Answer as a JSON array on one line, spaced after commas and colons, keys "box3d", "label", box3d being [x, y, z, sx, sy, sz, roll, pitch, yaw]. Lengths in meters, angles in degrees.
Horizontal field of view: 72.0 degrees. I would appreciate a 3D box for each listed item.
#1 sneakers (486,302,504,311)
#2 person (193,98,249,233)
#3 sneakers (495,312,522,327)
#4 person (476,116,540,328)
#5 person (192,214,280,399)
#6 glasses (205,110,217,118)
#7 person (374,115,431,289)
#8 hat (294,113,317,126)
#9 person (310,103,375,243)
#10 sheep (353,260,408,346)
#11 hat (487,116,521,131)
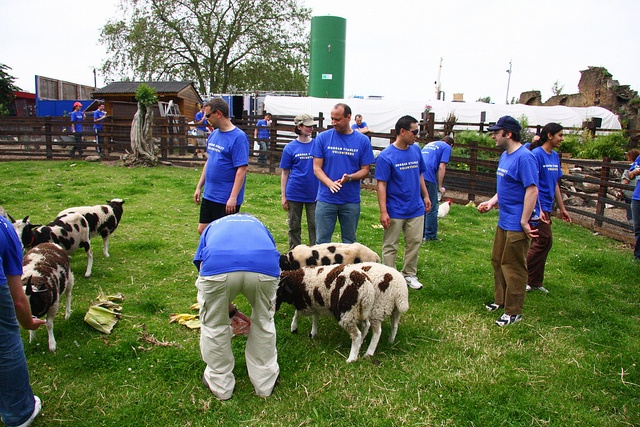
[{"box3d": [2.907, 1.540, 7.332, 0.298, 0.125, 0.113, 2, 15, 2], "label": "sneakers"}, {"box3d": [-1.551, -0.747, 7.095, 0.807, 2.160, 0.483, 7, 13, 27], "label": "person"}, {"box3d": [2.922, 1.638, 6.962, 0.459, 0.195, 0.153, -4, 14, -5], "label": "sneakers"}, {"box3d": [3.013, 0.080, 7.003, 0.608, 3.200, 0.841, -3, 12, -18], "label": "person"}, {"box3d": [-1.047, 1.207, 5.646, 1.025, 2.207, 0.644, -2, 12, -14], "label": "person"}, {"box3d": [-1.716, -1.558, 6.906, 0.242, 0.099, 0.099, 8, 13, 33], "label": "glasses"}, {"box3d": [1.371, -0.146, 7.586, 0.884, 2.979, 0.412, -3, 12, -18], "label": "person"}, {"box3d": [-0.275, -1.690, 7.955, 0.374, 0.188, 0.280, 2, 14, 18], "label": "hat"}, {"box3d": [0.334, -0.320, 7.636, 1.129, 3.037, 1.025, 0, 21, -2], "label": "person"}, {"box3d": [0.876, 1.357, 6.357, 0.693, 1.235, 0.445, -1, 12, -12], "label": "sheep"}, {"box3d": [2.924, -1.409, 6.979, 0.404, 0.234, 0.249, 3, 9, 16], "label": "hat"}]
